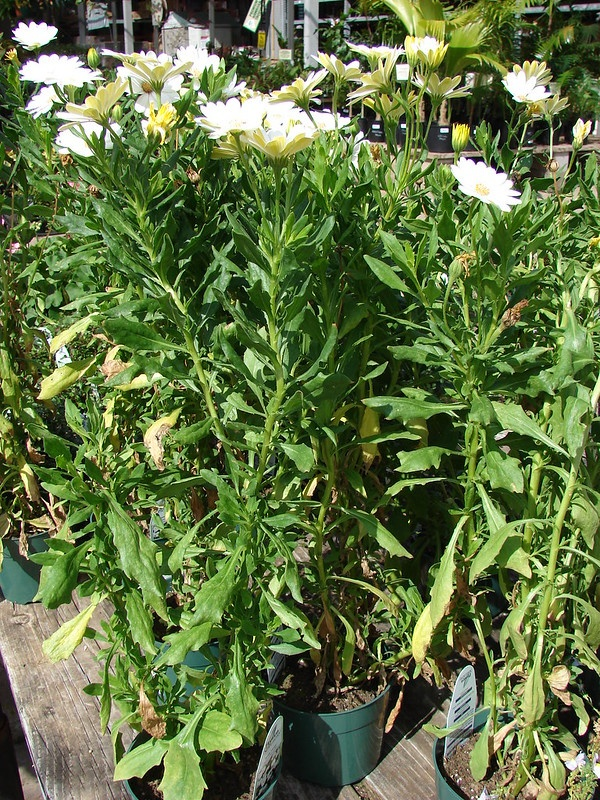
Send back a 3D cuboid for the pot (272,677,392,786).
[{"bbox_3d":[0.068,0.613,1.167,0.212,0.133,0.184,2,23,10],"label":"pot"}]
